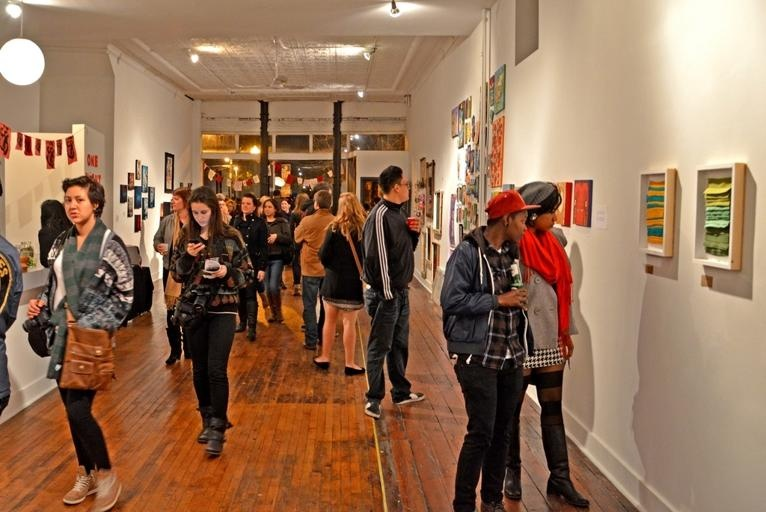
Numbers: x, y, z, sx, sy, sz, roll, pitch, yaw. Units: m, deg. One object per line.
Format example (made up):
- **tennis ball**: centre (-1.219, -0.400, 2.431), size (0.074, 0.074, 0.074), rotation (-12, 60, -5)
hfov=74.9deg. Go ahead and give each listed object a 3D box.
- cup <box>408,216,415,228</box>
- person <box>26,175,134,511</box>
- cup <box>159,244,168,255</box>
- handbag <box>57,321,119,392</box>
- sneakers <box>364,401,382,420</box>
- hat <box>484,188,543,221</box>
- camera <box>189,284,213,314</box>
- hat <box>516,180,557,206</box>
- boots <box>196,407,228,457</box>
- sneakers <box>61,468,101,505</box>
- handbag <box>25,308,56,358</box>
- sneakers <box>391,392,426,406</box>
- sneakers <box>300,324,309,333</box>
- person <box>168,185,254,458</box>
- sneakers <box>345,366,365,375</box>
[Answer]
- **cup**: centre (0.275, -0.330, 4.558), size (0.068, 0.136, 0.071), rotation (1, -3, 0)
- **person**: centre (-1.965, 0.563, 3.263), size (0.622, 2.157, 0.430), rotation (-3, 7, -25)
- **cup**: centre (-2.542, -0.116, 5.791), size (0.078, 0.090, 0.247), rotation (-2, 8, -21)
- **handbag**: centre (-1.881, 0.648, 3.195), size (0.217, 0.424, 0.295), rotation (-6, -11, 40)
- **sneakers**: centre (-0.090, 1.398, 4.586), size (0.076, 0.097, 0.216), rotation (4, 4, 2)
- **hat**: centre (0.770, -0.315, 2.989), size (0.300, 0.158, 0.190), rotation (-17, 12, 8)
- **camera**: centre (-1.392, 0.314, 3.855), size (0.155, 0.209, 0.073), rotation (-7, -25, 21)
- **hat**: centre (1.017, -0.418, 3.306), size (0.214, 0.100, 0.170), rotation (-22, 40, 16)
- **boots**: centre (-1.355, 1.406, 3.984), size (0.149, 0.197, 0.431), rotation (8, -11, -13)
- **sneakers**: centre (-2.034, 1.549, 3.379), size (0.112, 0.199, 0.324), rotation (5, -4, 2)
- **handbag**: centre (-2.242, 0.495, 3.276), size (0.109, 0.300, 0.212), rotation (-1, 11, -18)
- **sneakers**: centre (0.253, 1.349, 4.970), size (0.309, 0.132, 0.127), rotation (-6, 8, -23)
- **sneakers**: centre (-1.136, 1.002, 7.240), size (0.115, 0.145, 0.352), rotation (0, -2, -14)
- **person**: centre (-1.391, 0.483, 4.028), size (0.568, 2.085, 0.475), rotation (2, 7, 14)
- **sneakers**: centre (-0.310, 1.255, 5.655), size (0.187, 0.079, 0.105), rotation (-3, 6, -6)
